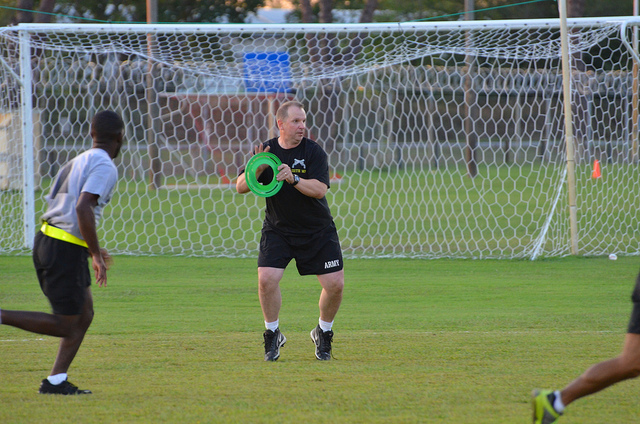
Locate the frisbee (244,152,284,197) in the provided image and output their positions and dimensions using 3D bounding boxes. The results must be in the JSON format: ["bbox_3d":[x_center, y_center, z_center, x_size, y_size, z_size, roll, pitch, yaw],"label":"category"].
[{"bbox_3d":[-0.670,-0.451,11.728,0.467,0.543,0.321,7,10,29],"label":"frisbee"}]

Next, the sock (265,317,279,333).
[{"bbox_3d":[-0.600,1.382,11.718,0.125,0.092,0.133,2,-6,-41],"label":"sock"}]

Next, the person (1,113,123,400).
[{"bbox_3d":[-2.886,0.464,10.911,0.977,3.162,0.783,4,9,6],"label":"person"}]

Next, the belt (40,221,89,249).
[{"bbox_3d":[-2.914,0.252,10.876,0.385,0.095,0.324,20,5,10],"label":"belt"}]

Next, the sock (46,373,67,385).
[{"bbox_3d":[-2.981,1.867,10.838,0.192,0.102,0.106,-6,10,-22],"label":"sock"}]

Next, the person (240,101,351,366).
[{"bbox_3d":[-0.304,0.211,11.730,1.219,3.071,0.919,2,9,-4],"label":"person"}]
